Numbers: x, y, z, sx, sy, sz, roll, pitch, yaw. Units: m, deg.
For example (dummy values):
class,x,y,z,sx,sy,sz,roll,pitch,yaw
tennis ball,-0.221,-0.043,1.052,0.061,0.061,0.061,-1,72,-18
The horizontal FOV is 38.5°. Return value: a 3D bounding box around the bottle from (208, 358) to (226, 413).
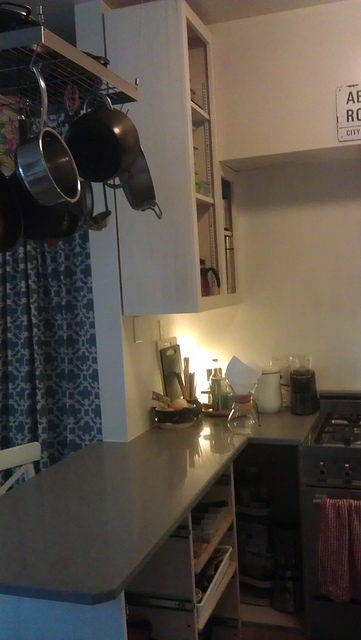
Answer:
class,x,y,z,sx,sy,sz,roll,pitch,yaw
bottle,0.186,0.334,2.693,0.080,0.261,0.306,-3,0,3
